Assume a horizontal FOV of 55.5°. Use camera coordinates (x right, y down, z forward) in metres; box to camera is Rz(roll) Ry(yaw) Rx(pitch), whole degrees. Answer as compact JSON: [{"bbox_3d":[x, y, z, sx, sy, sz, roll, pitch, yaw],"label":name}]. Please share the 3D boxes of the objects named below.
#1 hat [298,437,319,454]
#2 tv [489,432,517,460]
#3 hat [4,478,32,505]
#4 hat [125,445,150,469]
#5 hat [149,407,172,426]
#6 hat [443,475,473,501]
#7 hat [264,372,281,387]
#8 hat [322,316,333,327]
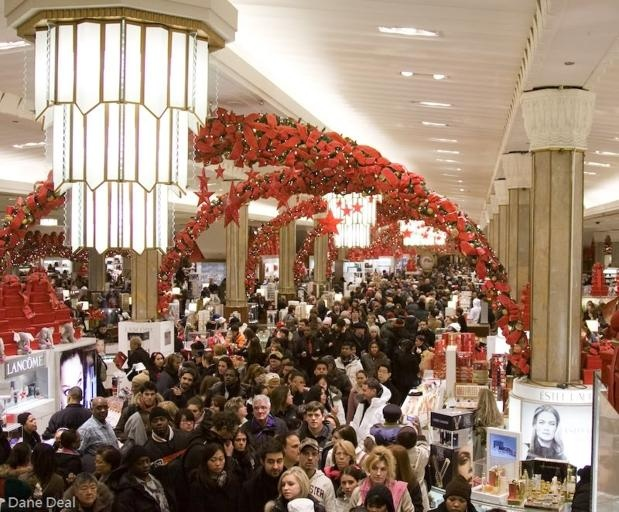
[{"bbox_3d":[-0.004,1.505,4.665,0.139,0.107,0.188,2,-6,-3],"label":"hat"},{"bbox_3d":[1.619,1.589,4.886,0.210,0.214,0.073,-5,-11,38],"label":"tv"},{"bbox_3d":[-2.343,1.891,4.684,0.240,0.204,0.094,0,-5,10],"label":"hat"},{"bbox_3d":[-1.313,1.514,4.479,0.158,0.137,0.165,-3,-18,-39],"label":"hat"},{"bbox_3d":[-1.307,1.405,5.130,0.106,0.131,0.155,0,-3,-3],"label":"hat"},{"bbox_3d":[1.043,1.619,4.090,0.122,0.158,0.178,7,-19,10],"label":"hat"},{"bbox_3d":[-0.426,1.424,6.684,0.129,0.139,0.124,-15,0,30],"label":"hat"},{"bbox_3d":[0.300,1.093,9.987,0.130,0.206,0.179,2,-14,8],"label":"hat"}]
